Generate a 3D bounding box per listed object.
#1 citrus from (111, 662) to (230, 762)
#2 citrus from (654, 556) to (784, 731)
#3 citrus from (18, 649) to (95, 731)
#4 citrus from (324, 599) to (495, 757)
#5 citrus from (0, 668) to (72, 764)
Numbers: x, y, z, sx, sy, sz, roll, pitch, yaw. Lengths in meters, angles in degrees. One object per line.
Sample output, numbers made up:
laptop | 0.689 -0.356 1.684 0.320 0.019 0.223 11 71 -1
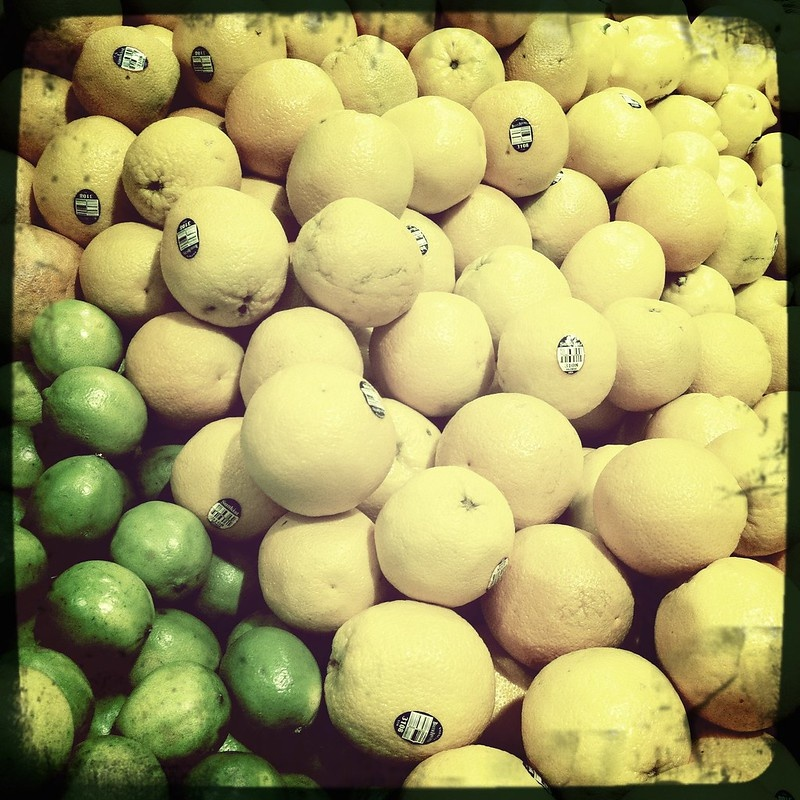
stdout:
citrus | -0.559 0.760 2.112 0.220 0.182 0.185 -21 114 -16
citrus | 0.760 0.566 2.295 0.330 0.371 0.461 3 108 10
citrus | -0.830 0.686 2.135 0.094 0.175 0.180 -38 90 11
citrus | 0.029 0.694 2.125 0.388 0.155 0.367 4 79 0
citrus | -0.807 0.704 1.987 0.090 0.158 0.190 -15 85 -5
